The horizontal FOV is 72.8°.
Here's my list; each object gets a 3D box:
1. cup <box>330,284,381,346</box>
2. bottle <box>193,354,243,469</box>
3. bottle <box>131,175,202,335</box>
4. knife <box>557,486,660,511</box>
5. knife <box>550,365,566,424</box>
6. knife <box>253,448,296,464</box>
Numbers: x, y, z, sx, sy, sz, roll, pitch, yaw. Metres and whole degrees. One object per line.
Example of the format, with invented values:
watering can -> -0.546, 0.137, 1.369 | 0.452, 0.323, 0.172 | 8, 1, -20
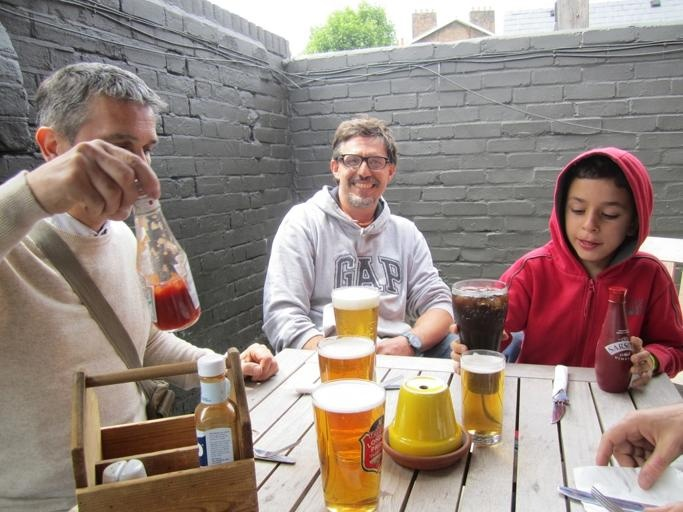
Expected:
cup -> 0.039, 0.160, 1.300 | 0.163, 0.217, 0.148 | -1, 8, -2
bottle -> -0.223, 0.259, 0.816 | 0.071, 0.203, 0.126 | -7, 15, -16
bottle -> -0.419, 0.015, 1.108 | 0.113, 0.328, 0.087 | -9, 16, -23
knife -> 0.503, 0.472, 0.892 | 0.156, 0.017, 0.018 | -6, -22, 41
knife -> 0.565, 0.369, 1.278 | 0.044, 0.040, 0.286 | 0, 15, 19
knife -> -0.153, 0.450, 1.035 | 0.109, 0.004, 0.029 | 5, 19, 4
